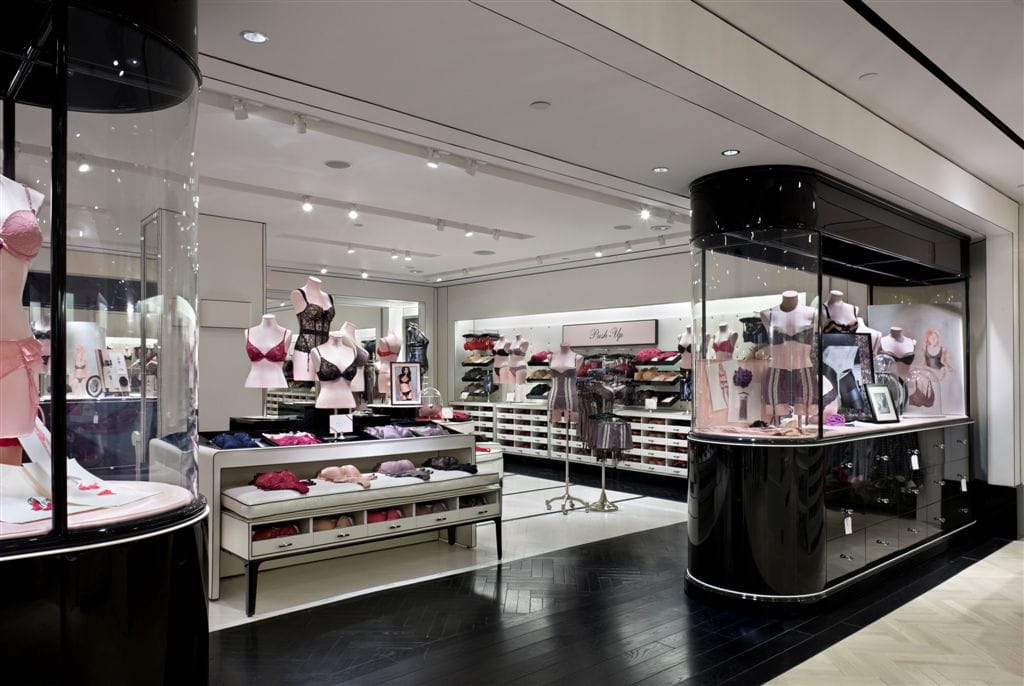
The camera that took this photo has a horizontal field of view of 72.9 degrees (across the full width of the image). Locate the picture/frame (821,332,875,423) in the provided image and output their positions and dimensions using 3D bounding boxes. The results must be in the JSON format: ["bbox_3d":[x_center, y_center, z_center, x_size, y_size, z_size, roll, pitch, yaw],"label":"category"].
[{"bbox_3d":[2.991,0.336,6.231,0.790,0.758,0.055,9,-14,-40],"label":"picture/frame"}]

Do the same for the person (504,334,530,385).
[{"bbox_3d":[0.064,0.303,10.885,0.296,0.744,0.696,1,5,0],"label":"person"}]

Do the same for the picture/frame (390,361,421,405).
[{"bbox_3d":[-1.307,0.506,8.393,0.519,0.641,0.045,1,-8,-35],"label":"picture/frame"}]

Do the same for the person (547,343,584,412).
[{"bbox_3d":[0.645,0.493,8.671,0.362,0.923,0.391,1,5,3],"label":"person"}]

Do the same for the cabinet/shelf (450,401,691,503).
[{"bbox_3d":[1.071,1.584,10.857,0.924,1.402,4.392,-3,7,-42],"label":"cabinet/shelf"}]

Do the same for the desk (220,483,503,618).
[{"bbox_3d":[-1.277,1.695,6.214,0.825,0.909,2.883,5,-1,37],"label":"desk"}]
